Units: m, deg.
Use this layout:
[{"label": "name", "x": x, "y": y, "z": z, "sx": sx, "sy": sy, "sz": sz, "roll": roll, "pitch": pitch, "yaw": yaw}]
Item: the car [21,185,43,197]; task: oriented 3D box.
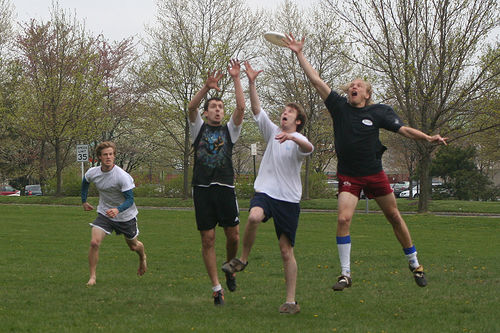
[{"label": "car", "x": -21.546, "y": 2.376, "z": 46.534, "sx": 1.578, "sy": 0.962, "sz": 1.210, "roll": 3, "pitch": -3, "yaw": 1}]

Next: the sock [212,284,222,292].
[{"label": "sock", "x": -0.630, "y": 2.299, "z": 8.985, "sx": 0.115, "sy": 0.097, "sz": 0.133, "roll": -16, "pitch": -29, "yaw": -49}]

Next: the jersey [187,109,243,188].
[{"label": "jersey", "x": -0.701, "y": -0.310, "z": 8.998, "sx": 1.016, "sy": 1.637, "sz": 0.454, "roll": 1, "pitch": 25, "yaw": -6}]

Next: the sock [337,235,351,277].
[{"label": "sock", "x": 1.752, "y": 1.630, "z": 8.686, "sx": 0.230, "sy": 0.746, "sz": 0.292, "roll": 0, "pitch": -2, "yaw": -3}]

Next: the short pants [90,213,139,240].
[{"label": "short pants", "x": -2.890, "y": 1.291, "z": 10.184, "sx": 0.634, "sy": 0.299, "sz": 0.694, "roll": 18, "pitch": -13, "yaw": -43}]

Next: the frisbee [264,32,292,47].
[{"label": "frisbee", "x": 0.524, "y": -2.493, "z": 9.255, "sx": 0.148, "sy": 0.356, "sz": 0.627, "roll": 2, "pitch": -3, "yaw": -41}]

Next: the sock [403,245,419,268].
[{"label": "sock", "x": 3.162, "y": 1.738, "z": 9.175, "sx": 0.262, "sy": 0.414, "sz": 0.316, "roll": -1, "pitch": -2, "yaw": 20}]

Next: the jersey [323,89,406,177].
[{"label": "jersey", "x": 2.086, "y": -0.689, "z": 8.988, "sx": 2.255, "sy": 1.793, "sz": 0.685, "roll": 2, "pitch": 5, "yaw": 30}]

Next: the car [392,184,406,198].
[{"label": "car", "x": 17.374, "y": 2.810, "z": 54.847, "sx": 1.328, "sy": 0.971, "sz": 2.124, "roll": 1, "pitch": 5, "yaw": 15}]

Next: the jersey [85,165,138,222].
[{"label": "jersey", "x": -3.020, "y": 0.550, "z": 10.356, "sx": 1.169, "sy": 1.213, "sz": 0.652, "roll": 5, "pitch": 20, "yaw": 11}]

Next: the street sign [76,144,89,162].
[{"label": "street sign", "x": -10.450, "y": -0.879, "z": 29.455, "sx": 0.643, "sy": 1.116, "sz": 1.745, "roll": 1, "pitch": -2, "yaw": -22}]
